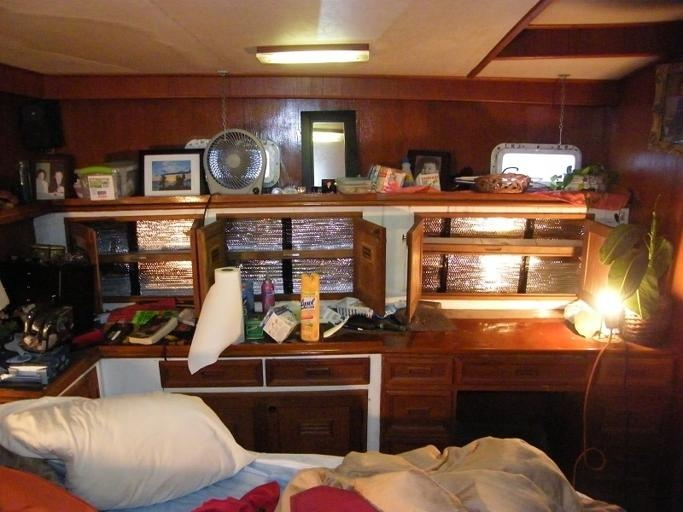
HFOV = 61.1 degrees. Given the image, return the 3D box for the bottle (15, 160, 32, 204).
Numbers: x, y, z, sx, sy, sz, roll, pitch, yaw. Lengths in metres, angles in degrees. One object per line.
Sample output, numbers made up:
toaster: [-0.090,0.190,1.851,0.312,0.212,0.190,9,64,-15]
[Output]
bottle: [-1.919,-0.445,3.478,0.076,0.249,0.161,-5,8,-26]

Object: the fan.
fan: [-0.679,-0.574,3.607,0.528,0.453,0.225,0,9,-2]

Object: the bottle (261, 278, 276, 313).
bottle: [-0.462,0.250,3.573,0.080,0.199,0.177,-2,7,-8]

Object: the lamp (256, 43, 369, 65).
lamp: [-0.162,-1.133,3.247,0.464,0.040,0.191,0,4,-2]

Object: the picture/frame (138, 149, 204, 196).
picture/frame: [-1.098,-0.529,3.681,0.380,0.223,0.025,0,-5,-4]

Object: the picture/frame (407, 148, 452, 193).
picture/frame: [0.612,-0.604,4.136,0.350,0.278,0.291,1,0,5]

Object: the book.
book: [-1.204,0.388,3.476,0.340,0.065,0.302,4,14,15]

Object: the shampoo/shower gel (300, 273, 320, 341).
shampoo/shower gel: [-0.190,0.290,3.301,0.110,0.384,0.132,-2,8,-6]

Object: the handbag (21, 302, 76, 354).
handbag: [-1.571,0.378,3.086,0.224,0.257,0.107,5,-25,0]

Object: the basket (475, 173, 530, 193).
basket: [1.013,-0.456,3.662,0.326,0.122,0.145,1,7,10]

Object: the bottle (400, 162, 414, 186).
bottle: [0.442,-0.562,3.907,0.082,0.172,0.215,0,7,6]

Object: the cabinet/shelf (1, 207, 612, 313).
cabinet/shelf: [-0.156,0.035,3.490,3.760,0.698,0.507,-1,7,-2]

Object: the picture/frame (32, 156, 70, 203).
picture/frame: [-1.820,-0.483,3.680,0.223,0.239,0.162,4,4,14]

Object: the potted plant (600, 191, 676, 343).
potted plant: [1.702,0.121,3.297,0.476,0.779,0.289,-7,9,-38]
